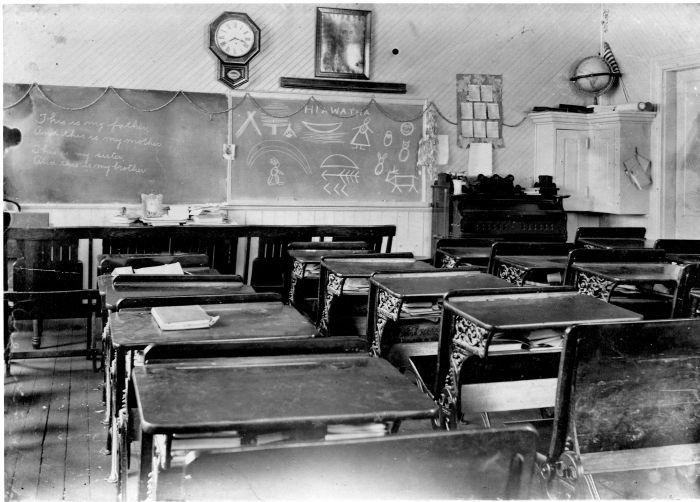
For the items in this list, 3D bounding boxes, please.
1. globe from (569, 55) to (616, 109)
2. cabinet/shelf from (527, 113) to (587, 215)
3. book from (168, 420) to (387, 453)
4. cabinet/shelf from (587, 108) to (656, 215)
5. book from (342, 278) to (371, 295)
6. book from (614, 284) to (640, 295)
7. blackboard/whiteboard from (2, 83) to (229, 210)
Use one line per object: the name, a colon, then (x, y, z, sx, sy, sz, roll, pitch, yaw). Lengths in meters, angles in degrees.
globe: (2.560, -1.751, 7.627, 0.521, 0.564, 0.484, 5, 20, 42)
cabinet/shelf: (2.199, -0.926, 7.563, 0.657, 1.011, 0.353, 1, 4, 12)
book: (-0.193, 0.523, 2.092, 0.602, 0.102, 0.156, 1, 4, 3)
cabinet/shelf: (2.781, -0.905, 7.485, 0.623, 1.022, 0.279, 2, 5, 23)
book: (0.041, 0.194, 3.905, 0.103, 0.028, 0.105, -2, 15, -10)
book: (1.676, 0.229, 4.384, 0.099, 0.024, 0.074, -5, 9, -40)
blackboard/whiteboard: (-2.151, -0.940, 6.461, 1.414, 0.747, 0.049, -1, 1, -20)
